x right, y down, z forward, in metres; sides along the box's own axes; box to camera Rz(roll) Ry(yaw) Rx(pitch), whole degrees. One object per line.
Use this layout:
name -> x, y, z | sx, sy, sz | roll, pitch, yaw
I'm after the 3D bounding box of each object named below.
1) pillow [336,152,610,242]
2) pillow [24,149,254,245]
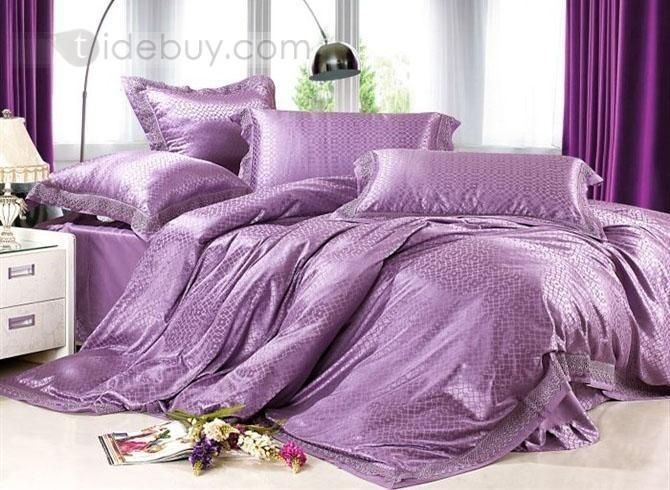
pillow -> 0.689, -0.288, 2.972 | 0.844, 0.157, 0.615 | 1, 33, 11
pillow -> -1.153, -0.317, 3.372 | 0.648, 0.209, 0.658 | 10, 18, 34
